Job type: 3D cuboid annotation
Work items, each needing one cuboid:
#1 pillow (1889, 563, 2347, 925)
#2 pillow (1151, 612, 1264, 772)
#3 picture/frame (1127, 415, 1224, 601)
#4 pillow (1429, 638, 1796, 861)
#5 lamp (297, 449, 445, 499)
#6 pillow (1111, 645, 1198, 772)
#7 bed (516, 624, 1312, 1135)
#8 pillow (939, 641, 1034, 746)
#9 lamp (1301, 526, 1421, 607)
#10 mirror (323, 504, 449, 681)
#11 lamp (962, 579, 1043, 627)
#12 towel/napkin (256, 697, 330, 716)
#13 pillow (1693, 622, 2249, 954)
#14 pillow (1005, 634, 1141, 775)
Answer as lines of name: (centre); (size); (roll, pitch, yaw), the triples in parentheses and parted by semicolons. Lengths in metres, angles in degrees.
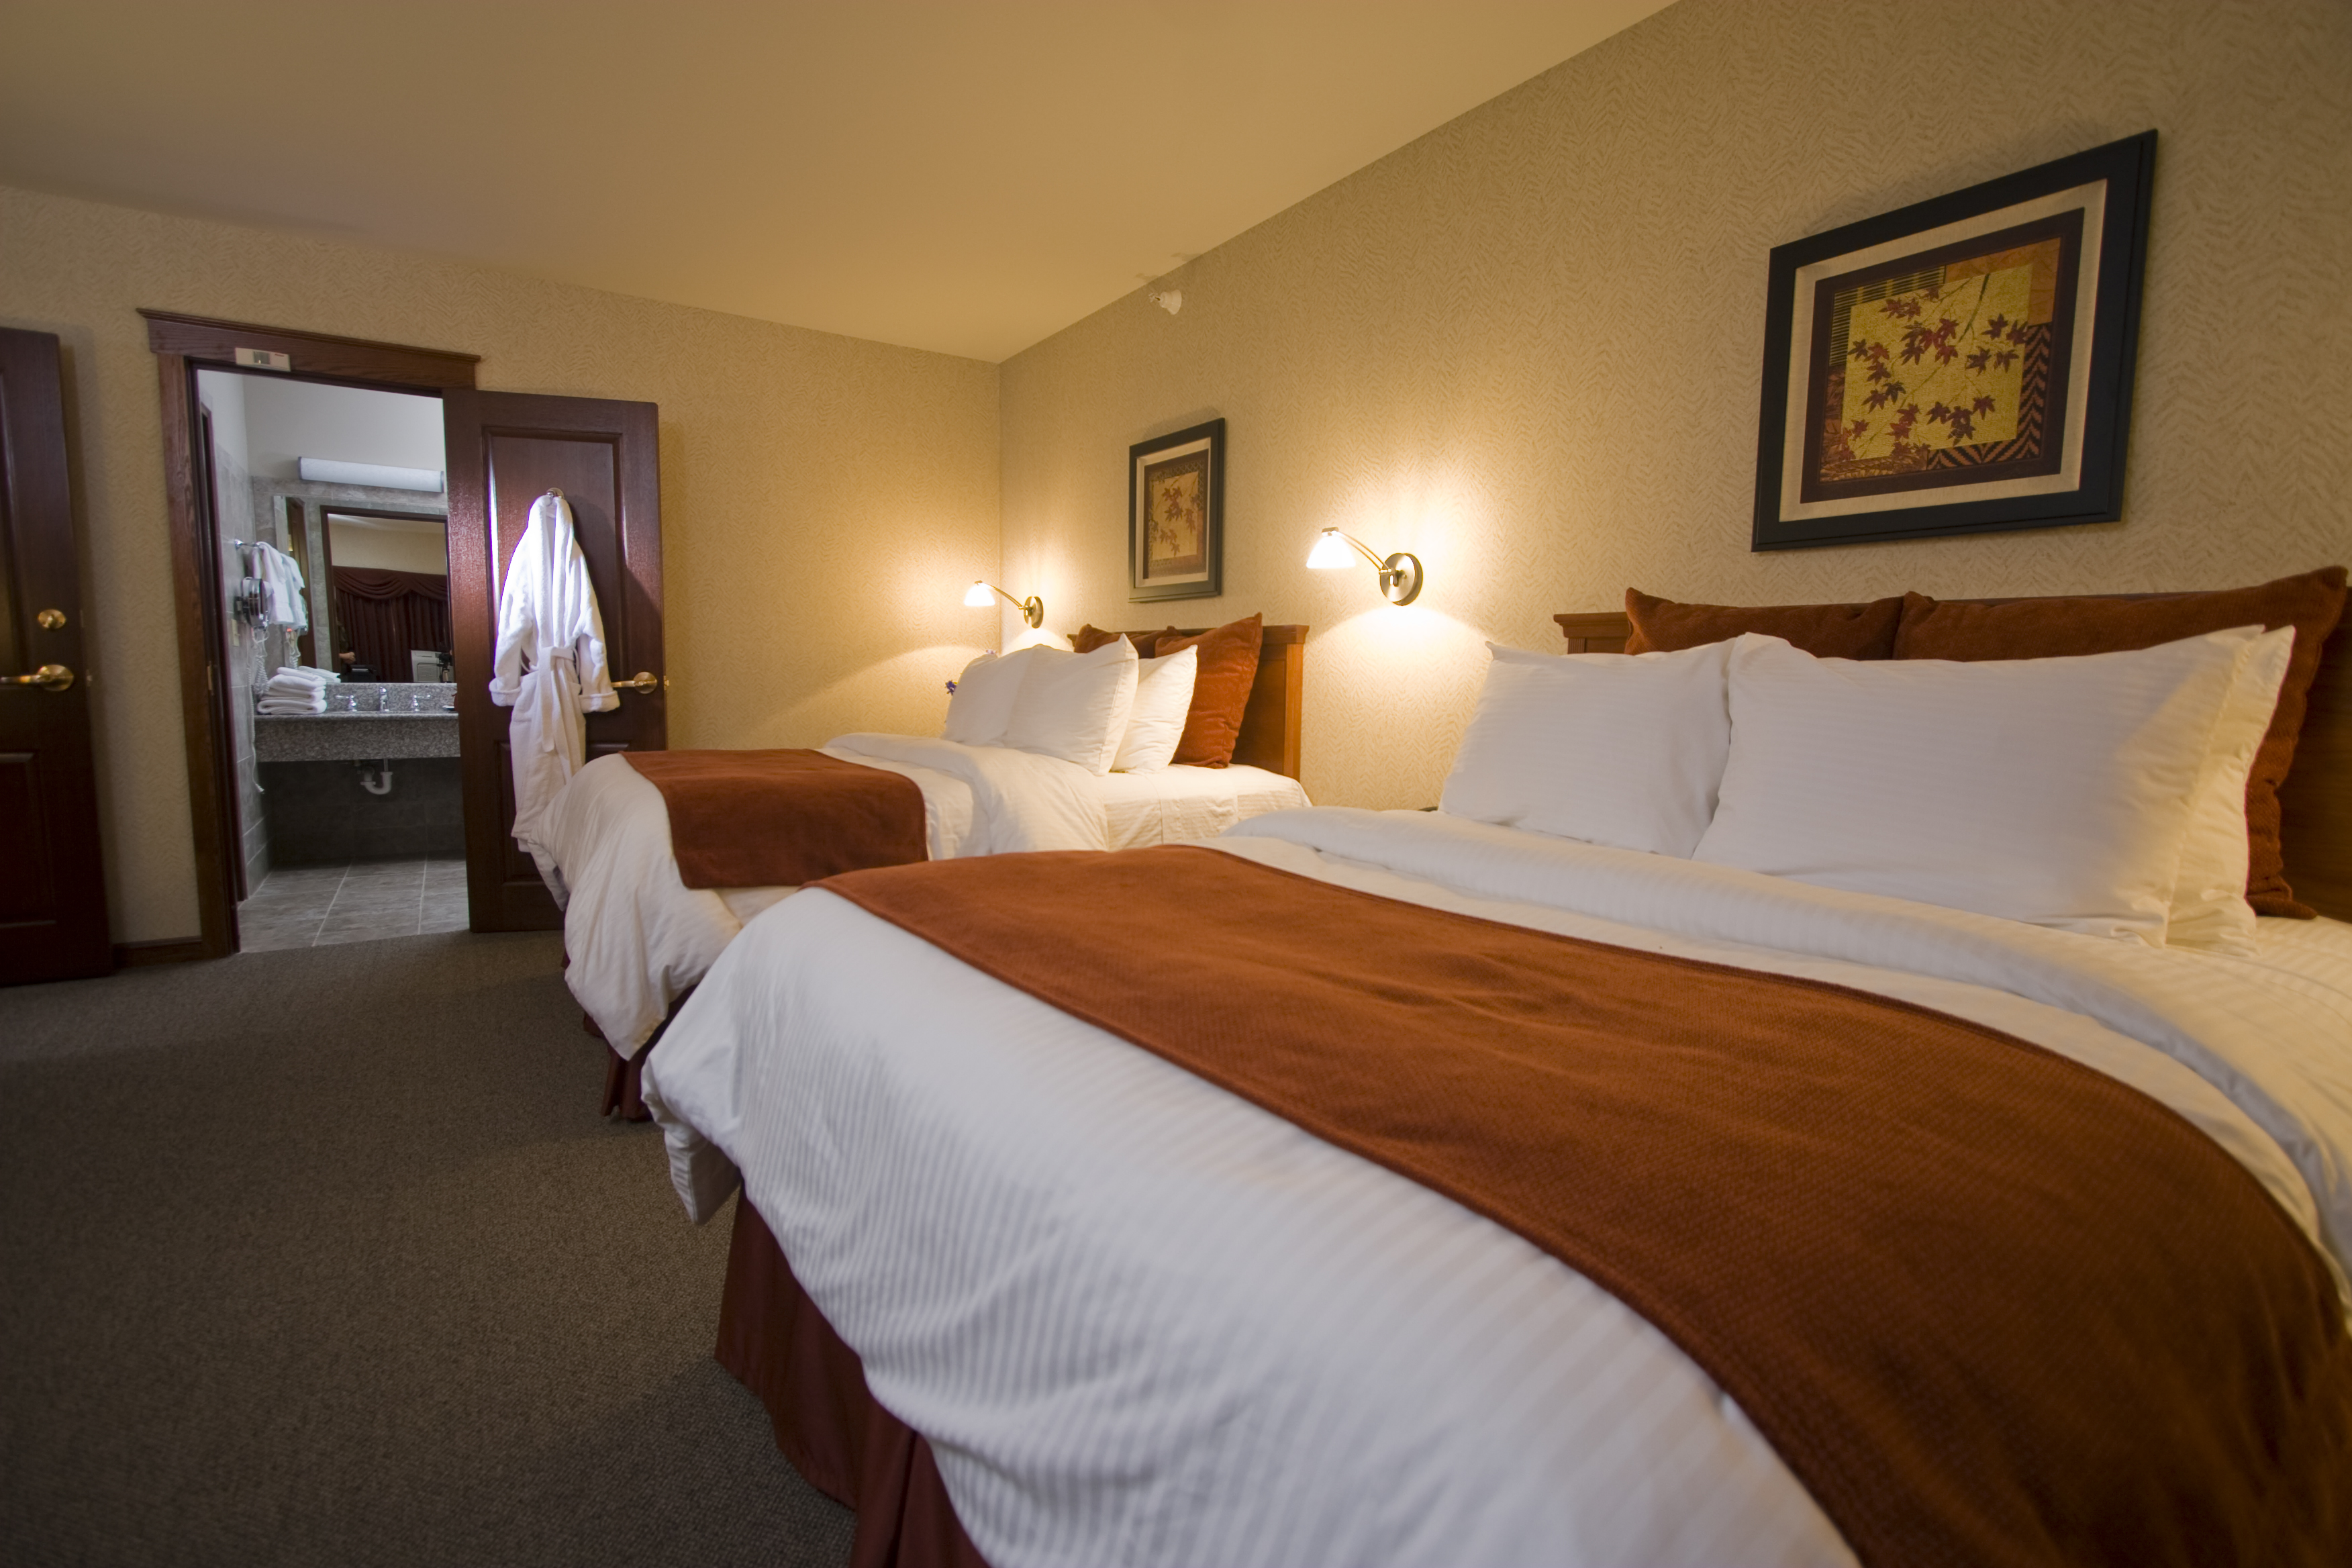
pillow: (2.009, -0.053, 3.123); (0.268, 0.643, 0.775); (3, -5, -33)
pillow: (0.150, -0.325, 5.322); (0.483, 0.479, 0.149); (8, -7, 43)
picture/frame: (0.014, -1.110, 5.903); (0.057, 0.794, 0.764); (-1, 3, -30)
pillow: (1.079, -0.071, 3.566); (0.571, 0.402, 0.202); (1, -12, 43)
lamp: (-4.140, -1.593, 7.639); (0.639, 0.168, 0.152); (-3, 10, -37)
pillow: (-0.083, -0.253, 5.162); (0.206, 0.391, 0.407); (-10, 3, -29)
bed: (-0.861, 0.185, 4.933); (1.882, 1.222, 1.839); (-3, 6, -27)
pillow: (-0.699, -0.345, 5.533); (0.112, 0.368, 0.373); (25, -7, -33)
lamp: (0.655, -0.734, 4.986); (0.372, 0.207, 0.227); (21, -1, -26)
mirror: (-4.172, -1.022, 7.785); (0.075, 1.087, 0.914); (5, 5, 40)
lamp: (-0.801, -0.852, 7.022); (0.427, 0.255, 0.192); (-7, 2, -41)
towel/napkin: (-4.164, -0.366, 7.012); (0.260, 0.057, 0.273); (-2, 9, -33)
pillow: (1.694, 0.031, 3.101); (0.642, 0.454, 0.228); (9, 2, 39)
pillow: (-0.353, -0.254, 5.124); (0.188, 0.383, 0.529); (36, -22, -32)
